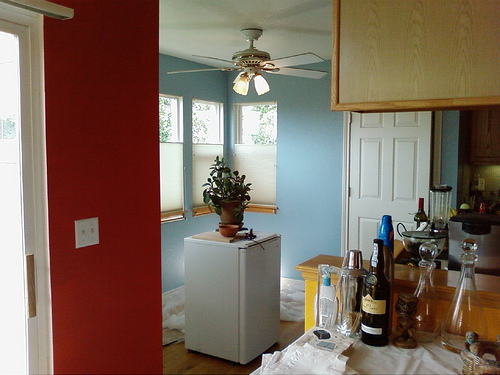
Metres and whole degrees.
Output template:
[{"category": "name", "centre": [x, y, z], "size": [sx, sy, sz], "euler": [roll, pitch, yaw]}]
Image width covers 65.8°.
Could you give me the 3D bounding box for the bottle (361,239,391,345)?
[{"category": "bottle", "centre": [0.520, 0.434, 1.594], "size": [0.116, 0.429, 0.077], "euler": [-1, 6, 8]}]

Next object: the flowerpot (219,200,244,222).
[{"category": "flowerpot", "centre": [-0.157, 0.204, 3.331], "size": [0.186, 0.135, 0.182], "euler": [3, -5, -30]}]

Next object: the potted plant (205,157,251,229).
[{"category": "potted plant", "centre": [-0.162, 0.029, 3.418], "size": [0.400, 0.585, 0.364], "euler": [-8, 13, -41]}]

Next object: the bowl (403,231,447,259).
[{"category": "bowl", "centre": [0.961, 0.281, 2.125], "size": [0.212, 0.137, 0.213], "euler": [1, -4, 0]}]

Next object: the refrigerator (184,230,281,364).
[{"category": "refrigerator", "centre": [-0.090, 0.843, 3.496], "size": [0.667, 1.109, 0.866], "euler": [3, 5, 34]}]
